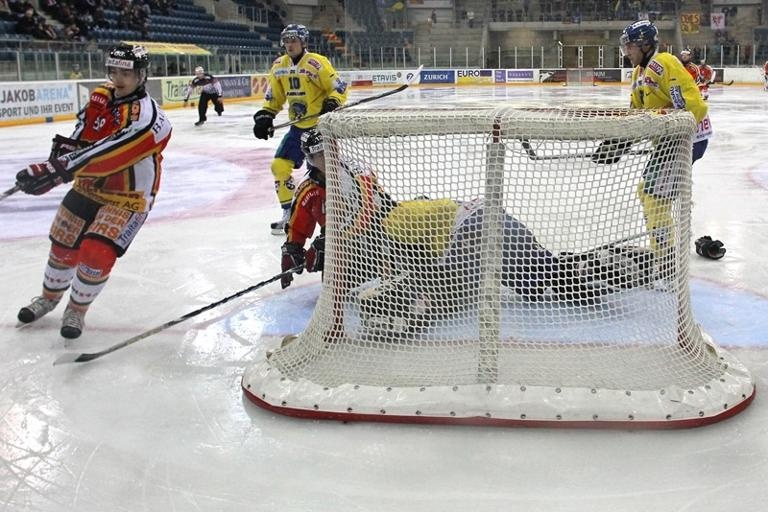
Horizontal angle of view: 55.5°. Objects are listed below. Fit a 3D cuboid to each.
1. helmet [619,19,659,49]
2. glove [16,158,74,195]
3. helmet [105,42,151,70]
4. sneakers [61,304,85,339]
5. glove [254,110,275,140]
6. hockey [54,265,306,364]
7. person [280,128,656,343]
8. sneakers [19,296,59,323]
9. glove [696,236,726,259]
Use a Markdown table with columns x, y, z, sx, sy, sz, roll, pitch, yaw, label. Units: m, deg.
| x | y | z | sx | sy | sz | roll | pitch | yaw | label |
| --- | --- | --- | --- | --- | --- | --- | --- | --- | --- |
| 1.703 | -1.498 | 4.961 | 0.248 | 0.215 | 0.191 | 12 | 26 | 18 | helmet |
| -1.843 | -0.453 | 4.105 | 0.180 | 0.119 | 0.300 | 4 | 28 | 36 | glove |
| -1.439 | -1.125 | 4.106 | 0.164 | 0.099 | 0.211 | 3 | 18 | 3 | helmet |
| -1.789 | 0.385 | 4.215 | 0.094 | 0.098 | 0.249 | 14 | 22 | -43 | sneakers |
| -0.990 | -1.080 | 6.051 | 0.210 | 0.251 | 0.110 | 1 | -1 | 9 | glove |
| -1.226 | 0.366 | 4.384 | 1.348 | 0.130 | 0.145 | -19 | -18 | -37 | hockey |
| 0.298 | -0.163 | 4.000 | 1.966 | 1.020 | 1.034 | 0 | 16 | 7 | person |
| -2.075 | 0.320 | 4.444 | 0.108 | 0.104 | 0.270 | 26 | 7 | -7 | sneakers |
| 2.320 | -0.056 | 5.204 | 0.140 | 0.085 | 0.212 | 4 | 8 | 11 | glove |
